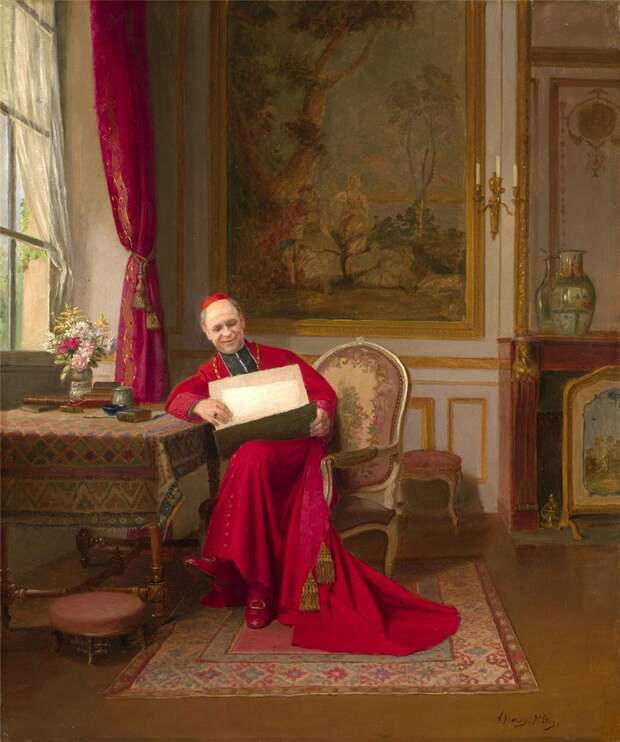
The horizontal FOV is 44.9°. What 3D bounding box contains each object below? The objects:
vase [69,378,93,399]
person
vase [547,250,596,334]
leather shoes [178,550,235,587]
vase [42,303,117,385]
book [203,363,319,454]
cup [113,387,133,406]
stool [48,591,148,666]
[{"bbox_3d":[-1.023,0.077,3.366,0.085,0.081,0.085,2,-9,-3],"label":"vase"},{"bbox_3d":[-0.083,0.396,2.897,0.947,1.159,1.086,-14,17,-26],"label":"person"},{"bbox_3d":[1.521,-0.454,4.351,0.240,0.486,0.118,2,6,14],"label":"vase"},{"bbox_3d":[-0.395,0.780,2.946,0.109,0.085,0.267,-10,-13,14],"label":"leather shoes"},{"bbox_3d":[-1.097,-0.134,3.548,0.291,0.339,0.288,-24,-33,32],"label":"vase"},{"bbox_3d":[-0.174,0.115,2.782,0.370,0.335,0.156,-8,-13,-4],"label":"book"},{"bbox_3d":[-0.790,0.109,3.176,0.083,0.080,0.079,0,-4,0],"label":"cup"},{"bbox_3d":[-0.726,0.882,2.650,0.261,0.127,0.245,1,-1,-1],"label":"stool"}]
